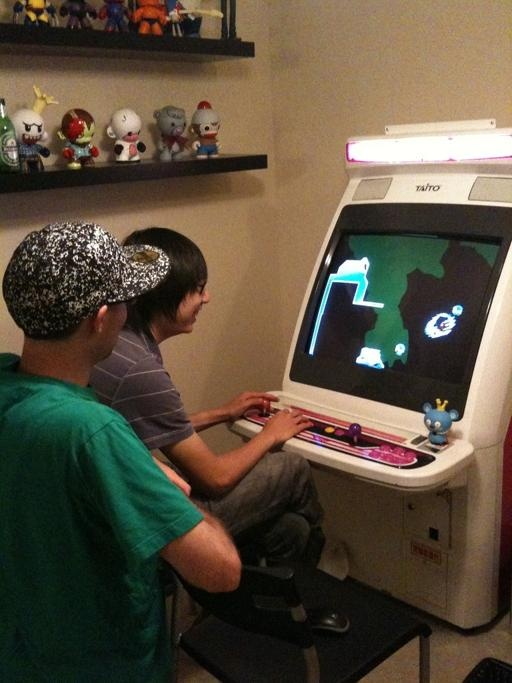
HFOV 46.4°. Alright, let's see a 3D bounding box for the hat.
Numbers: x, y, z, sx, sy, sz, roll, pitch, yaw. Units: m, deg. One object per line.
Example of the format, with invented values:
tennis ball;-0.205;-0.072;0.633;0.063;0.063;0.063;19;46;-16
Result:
hat;-0.195;-0.092;0.810;0.240;0.112;0.146;-27;51;-26
